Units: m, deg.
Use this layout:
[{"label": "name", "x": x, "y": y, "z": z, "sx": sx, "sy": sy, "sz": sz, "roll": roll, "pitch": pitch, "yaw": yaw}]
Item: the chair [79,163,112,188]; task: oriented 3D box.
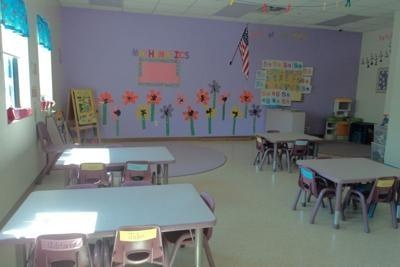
[{"label": "chair", "x": -1.465, "y": 0.559, "z": 4.144, "sx": 0.318, "sy": 0.429, "sz": 0.362, "roll": 0, "pitch": 1, "yaw": -9}]

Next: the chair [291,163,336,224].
[{"label": "chair", "x": 1.807, "y": 0.896, "z": 4.633, "sx": 0.504, "sy": 0.784, "sz": 0.568, "roll": -7, "pitch": 16, "yaw": -26}]

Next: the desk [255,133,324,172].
[{"label": "desk", "x": 2.017, "y": 0.538, "z": 6.772, "sx": 0.927, "sy": 0.631, "sz": 1.171, "roll": -3, "pitch": 11, "yaw": -12}]

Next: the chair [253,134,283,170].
[{"label": "chair", "x": 1.503, "y": 0.375, "z": 6.826, "sx": 0.644, "sy": 0.770, "sz": 0.676, "roll": 22, "pitch": -23, "yaw": -39}]

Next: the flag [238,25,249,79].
[{"label": "flag", "x": 1.353, "y": -2.504, "z": 9.013, "sx": 0.368, "sy": 1.474, "sz": 0.193, "roll": -2, "pitch": 11, "yaw": -3}]

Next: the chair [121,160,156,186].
[{"label": "chair", "x": -0.949, "y": 0.678, "z": 4.460, "sx": 0.516, "sy": 0.513, "sz": 0.717, "roll": 3, "pitch": 0, "yaw": -6}]

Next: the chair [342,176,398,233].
[{"label": "chair", "x": 2.533, "y": 1.063, "z": 4.397, "sx": 0.573, "sy": 0.811, "sz": 0.599, "roll": -6, "pitch": 18, "yaw": -12}]
